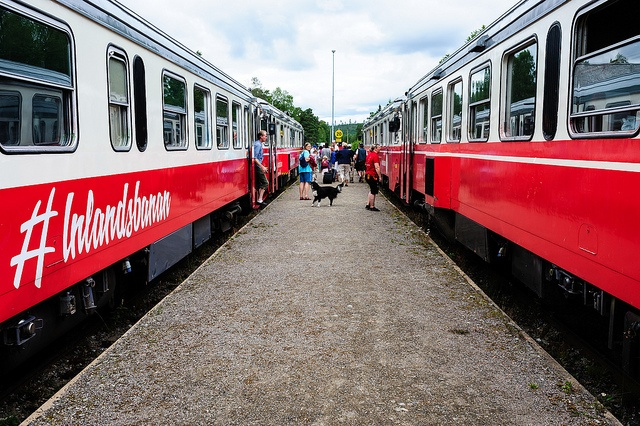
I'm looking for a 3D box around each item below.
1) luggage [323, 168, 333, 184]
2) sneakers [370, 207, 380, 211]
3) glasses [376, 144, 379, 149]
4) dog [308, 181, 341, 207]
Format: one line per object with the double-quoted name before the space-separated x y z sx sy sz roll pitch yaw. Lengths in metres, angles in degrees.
"luggage" 0.446 -1.769 22.696 0.519 1.030 0.548 7 28 5
"sneakers" 1.844 -0.072 14.446 0.275 0.136 0.109 3 11 0
"glasses" 1.928 -2.130 14.255 0.084 0.126 0.118 -4 -8 -6
"dog" 0.159 -0.714 15.997 0.968 0.887 1.409 -1 10 -2
